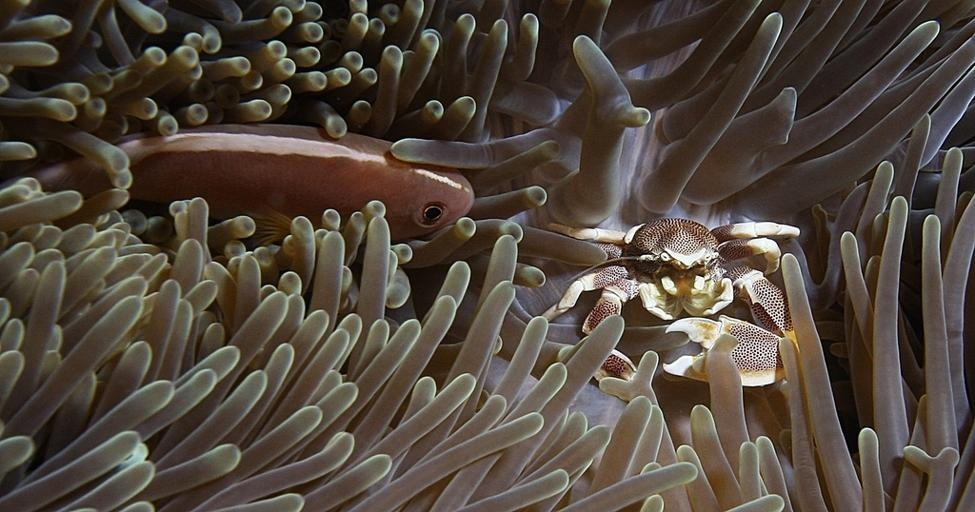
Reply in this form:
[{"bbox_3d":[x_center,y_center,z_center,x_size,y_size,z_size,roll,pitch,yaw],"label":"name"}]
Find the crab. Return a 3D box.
[{"bbox_3d":[0.570,0.048,3.135,0.633,0.575,1.308,3,4,18],"label":"crab"}]
